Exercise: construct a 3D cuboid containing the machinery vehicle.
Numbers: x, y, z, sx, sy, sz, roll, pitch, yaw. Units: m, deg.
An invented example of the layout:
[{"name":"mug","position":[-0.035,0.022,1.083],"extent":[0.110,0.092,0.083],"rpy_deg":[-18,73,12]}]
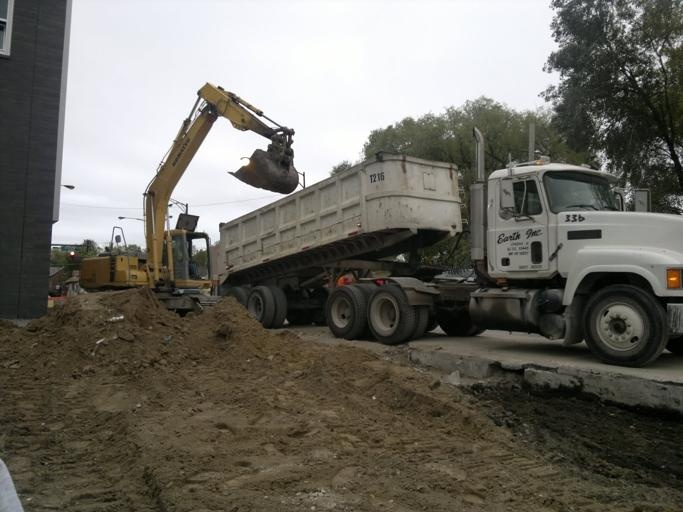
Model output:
[{"name":"machinery vehicle","position":[-4.129,-1.130,14.192],"extent":[5.512,5.688,1.943],"rpy_deg":[-3,-2,13]}]
